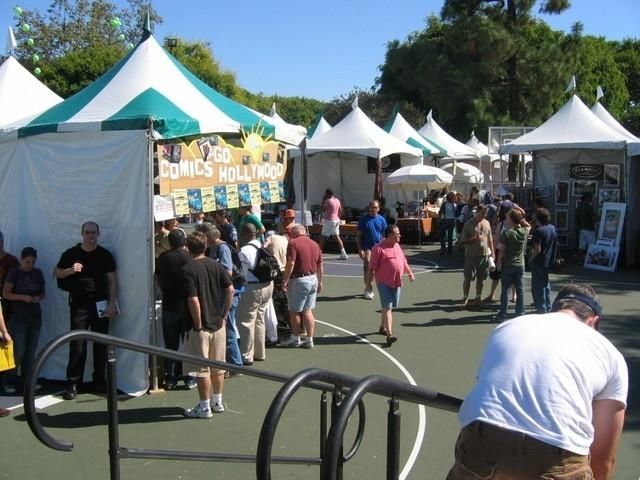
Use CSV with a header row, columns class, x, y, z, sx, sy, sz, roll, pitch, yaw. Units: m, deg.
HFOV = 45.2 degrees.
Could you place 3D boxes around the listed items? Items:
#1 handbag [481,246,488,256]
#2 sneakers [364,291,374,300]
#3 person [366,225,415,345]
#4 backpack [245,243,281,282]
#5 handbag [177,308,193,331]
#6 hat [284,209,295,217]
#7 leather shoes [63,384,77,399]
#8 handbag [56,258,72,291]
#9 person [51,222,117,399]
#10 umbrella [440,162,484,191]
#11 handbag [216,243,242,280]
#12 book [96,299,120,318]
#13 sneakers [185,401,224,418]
class,x,y,z,sx,sy,sz,roll,pitch,yaw
handbag,3.045,0.192,14.294,0.120,0.186,0.095,4,25,44
sneakers,0.974,1.101,15.230,0.104,0.161,0.319,1,3,2
person,1.158,0.730,12.791,0.688,1.957,1.046,0,2,5
backpack,-0.835,0.379,11.700,0.488,0.602,0.373,2,4,12
handbag,-1.815,1.053,10.318,0.167,0.402,0.267,2,-8,-21
hat,-0.521,-0.469,13.369,0.135,0.087,0.143,5,11,35
leather shoes,-3.457,2.094,10.609,0.186,0.199,0.159,-1,2,-27
handbag,-3.568,0.491,10.710,0.355,0.446,0.137,1,2,27
person,-3.257,0.963,10.723,0.838,2.447,0.454,-1,2,-20
umbrella,5.789,-2.652,31.208,1.524,1.308,1.679,-2,4,-25
handbag,-1.331,0.332,11.048,0.221,0.476,0.413,-23,0,-3
book,-3.041,0.964,10.762,0.215,0.258,0.053,-2,-10,-30
sneakers,-1.547,2.275,10.267,0.401,0.233,0.245,0,-3,8
